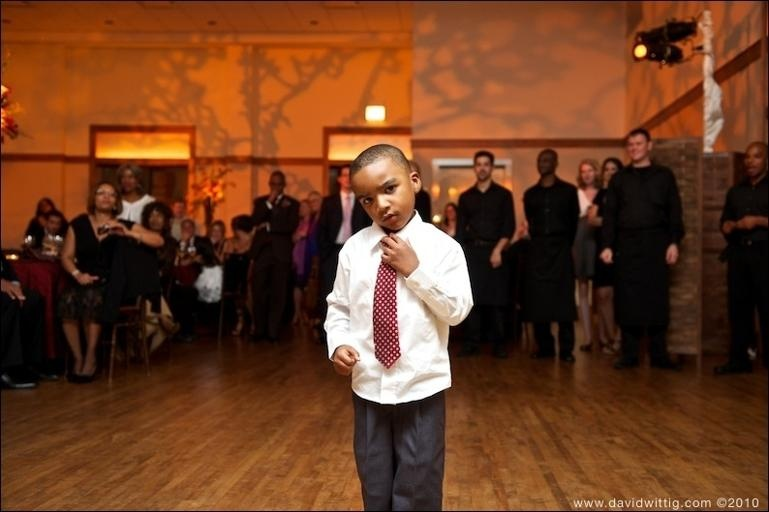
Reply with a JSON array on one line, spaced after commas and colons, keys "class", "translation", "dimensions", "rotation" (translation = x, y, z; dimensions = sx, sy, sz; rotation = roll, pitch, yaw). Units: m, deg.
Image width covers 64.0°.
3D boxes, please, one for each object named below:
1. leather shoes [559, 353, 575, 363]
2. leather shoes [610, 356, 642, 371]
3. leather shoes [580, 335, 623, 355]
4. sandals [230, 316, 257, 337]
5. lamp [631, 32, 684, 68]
[{"class": "leather shoes", "translation": [1.706, 0.953, 5.780], "dimensions": [0.068, 0.080, 0.127], "rotation": [3, -16, -17]}, {"class": "leather shoes", "translation": [2.103, 0.933, 5.411], "dimensions": [0.228, 0.091, 0.105], "rotation": [2, -2, -11]}, {"class": "leather shoes", "translation": [2.139, 0.876, 6.095], "dimensions": [0.394, 0.154, 0.134], "rotation": [0, -5, 42]}, {"class": "sandals", "translation": [-1.664, 0.833, 7.169], "dimensions": [0.291, 0.280, 0.177], "rotation": [0, -2, 4]}, {"class": "lamp", "translation": [2.684, -2.047, 6.023], "dimensions": [0.506, 0.318, 0.305], "rotation": [0, -1, -38]}]
